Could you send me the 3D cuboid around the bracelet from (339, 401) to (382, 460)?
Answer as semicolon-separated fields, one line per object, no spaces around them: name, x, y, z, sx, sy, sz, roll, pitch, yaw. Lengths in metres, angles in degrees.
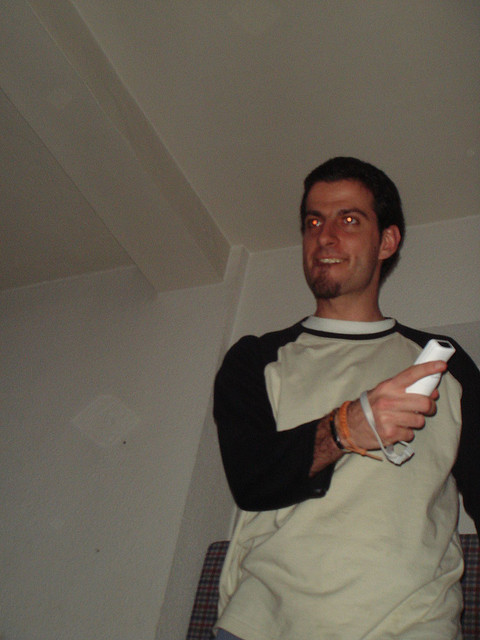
bracelet;0.184;0.198;0.848;0.030;0.072;0.096;-9;19;-41

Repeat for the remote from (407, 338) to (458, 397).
remote;0.296;0.072;0.785;0.058;0.102;0.031;37;26;12
